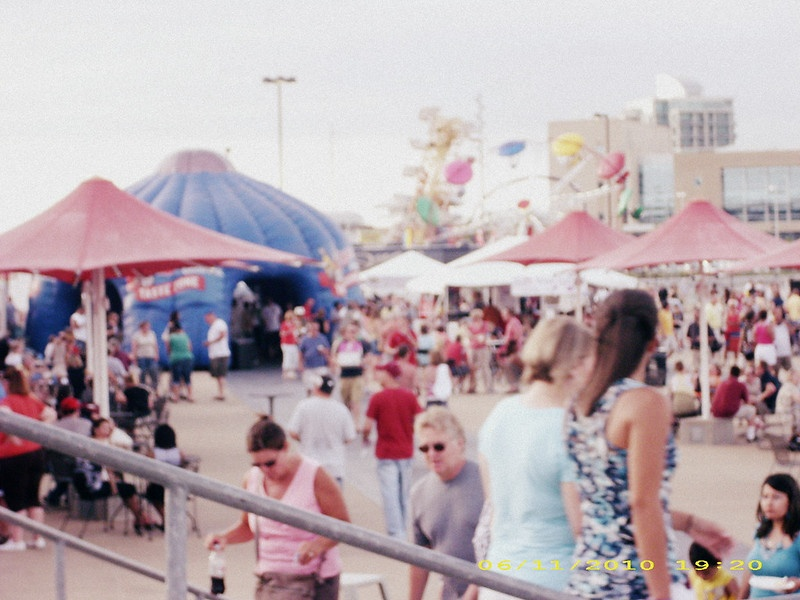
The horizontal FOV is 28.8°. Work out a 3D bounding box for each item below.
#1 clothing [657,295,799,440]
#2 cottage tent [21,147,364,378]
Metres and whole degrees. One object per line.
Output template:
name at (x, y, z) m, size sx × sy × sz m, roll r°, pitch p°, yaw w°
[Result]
clothing at (5.554, 1.149, 26.228) m, size 2.242 × 2.195 × 0.549 m, roll -1°, pitch 0°, yaw 10°
cottage tent at (-5.324, -1.248, 36.236) m, size 6.042 × 3.396 × 6.231 m, roll 1°, pitch 6°, yaw 22°
